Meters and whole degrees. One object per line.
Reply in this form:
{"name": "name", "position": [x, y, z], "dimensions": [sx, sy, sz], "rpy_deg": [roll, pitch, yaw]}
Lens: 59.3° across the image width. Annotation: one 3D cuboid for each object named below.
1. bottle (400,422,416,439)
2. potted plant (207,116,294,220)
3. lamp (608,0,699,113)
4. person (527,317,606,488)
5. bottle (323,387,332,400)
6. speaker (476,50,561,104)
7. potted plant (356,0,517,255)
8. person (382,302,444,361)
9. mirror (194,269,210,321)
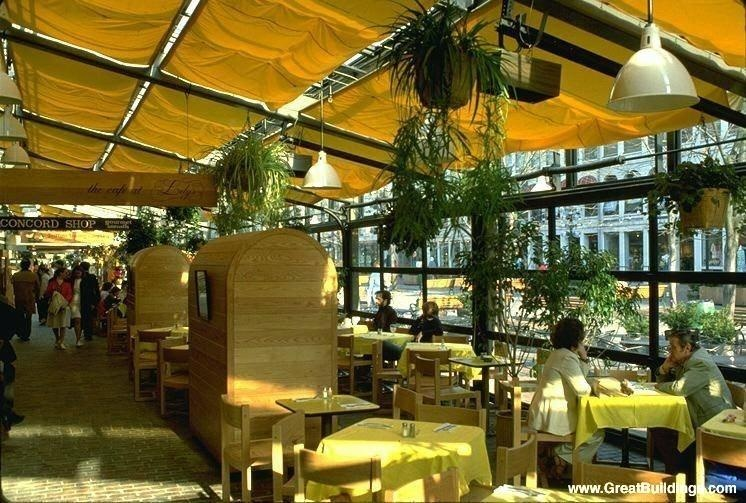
{"name": "bottle", "position": [0.364, 1.808, 6.670], "dimensions": [0.154, 0.144, 0.089], "rpy_deg": [-2, -5, 24]}
{"name": "potted plant", "position": [-1.911, -1.101, 10.191], "dimensions": [1.377, 1.296, 1.280], "rpy_deg": [8, -21, -27]}
{"name": "lamp", "position": [2.342, -1.660, 5.496], "dimensions": [0.681, 0.955, 0.449], "rpy_deg": [1, -3, 24]}
{"name": "person", "position": [2.427, 1.868, 8.204], "dimensions": [0.985, 1.983, 0.858], "rpy_deg": [3, 5, -2]}
{"name": "bottle", "position": [-0.555, 1.741, 8.044], "dimensions": [0.150, 0.137, 0.073], "rpy_deg": [2, -14, -11]}
{"name": "speaker", "position": [1.490, -1.752, 6.390], "dimensions": [0.938, 0.473, 0.414], "rpy_deg": [10, 27, 1]}
{"name": "potted plant", "position": [0.642, -1.193, 6.220], "dimensions": [1.123, 2.368, 1.135], "rpy_deg": [2, -2, 1]}
{"name": "person", "position": [0.820, 1.517, 12.270], "dimensions": [1.183, 1.130, 0.735], "rpy_deg": [-6, 10, -42]}
{"name": "mirror", "position": [-2.417, 0.622, 9.325], "dimensions": [0.071, 0.606, 0.641], "rpy_deg": [-2, -16, -19]}
